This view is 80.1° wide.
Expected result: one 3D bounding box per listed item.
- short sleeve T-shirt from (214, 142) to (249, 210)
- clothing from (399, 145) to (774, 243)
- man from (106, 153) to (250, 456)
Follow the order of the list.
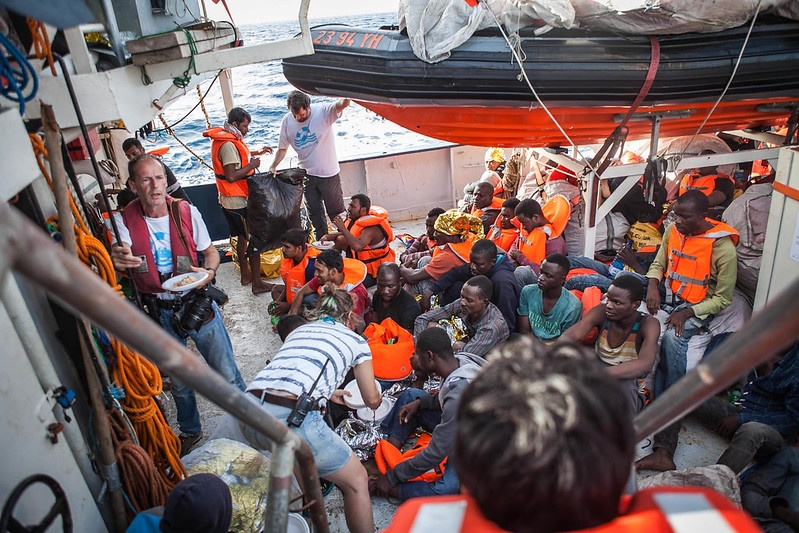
[{"bbox_3d":[-1.924,-1.052,5.423,0.333,0.596,0.499,-15,51,-19],"label":"short sleeve T-shirt"},{"bbox_3d":[2.676,-1.352,7.427,6.040,1.301,1.358,-9,24,-7],"label":"clothing"},{"bbox_3d":[-1.646,0.304,3.544,0.843,2.186,0.789,-8,9,-10],"label":"man"}]
